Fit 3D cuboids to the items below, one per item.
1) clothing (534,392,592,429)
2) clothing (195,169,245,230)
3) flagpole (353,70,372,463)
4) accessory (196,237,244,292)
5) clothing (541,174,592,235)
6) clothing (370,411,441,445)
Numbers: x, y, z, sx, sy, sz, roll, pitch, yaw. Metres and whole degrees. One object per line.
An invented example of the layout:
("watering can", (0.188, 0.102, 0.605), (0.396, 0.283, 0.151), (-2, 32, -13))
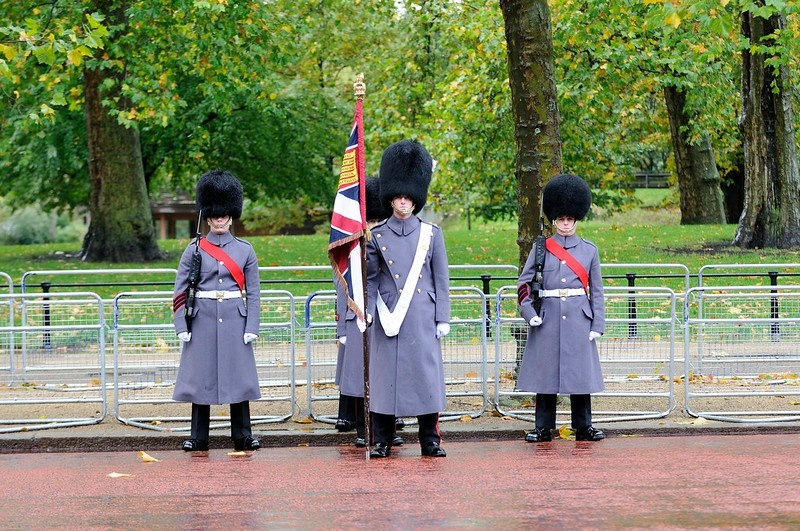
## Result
("clothing", (2.582, 2.320, 25.212), (0.859, 0.575, 0.280), (0, -5, 3))
("clothing", (-2.998, -1.078, 25.379), (0.991, 1.005, 0.960), (-1, -5, -9))
("flagpole", (-0.554, 0.012, 24.669), (0.274, 5.989, 0.952), (-3, -2, -2))
("accessory", (-2.721, -0.040, 24.869), (0.939, 0.700, 0.216), (-12, 0, -10))
("clothing", (2.688, -0.962, 25.566), (1.055, 1.007, 0.980), (1, -12, -3))
("clothing", (0.085, 2.528, 24.596), (0.933, 0.649, 0.596), (-1, 6, -4))
